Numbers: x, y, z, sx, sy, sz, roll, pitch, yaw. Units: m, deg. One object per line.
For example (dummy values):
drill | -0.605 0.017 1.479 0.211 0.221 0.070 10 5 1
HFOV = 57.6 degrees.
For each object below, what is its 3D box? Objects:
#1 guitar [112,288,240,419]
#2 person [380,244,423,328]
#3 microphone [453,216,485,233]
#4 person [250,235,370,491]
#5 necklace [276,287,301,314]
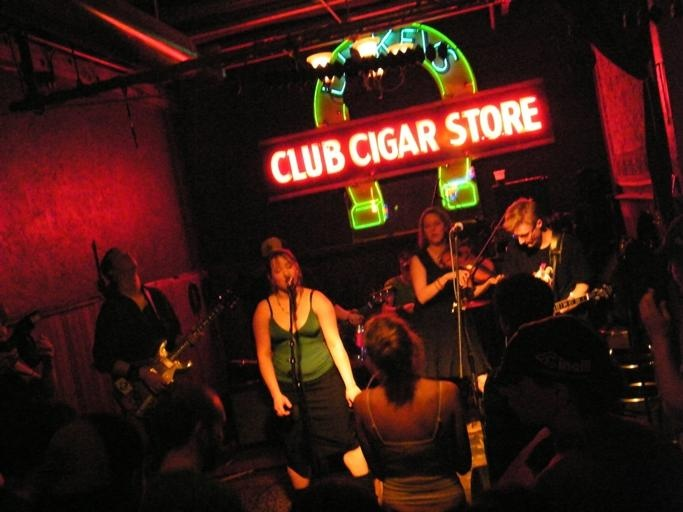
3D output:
guitar | -1.572 0.897 5.779 1.620 0.490 0.170 -47 -3 -40
person | 0.605 0.289 6.066 0.265 0.325 0.966 -24 15 12
microphone | 1.485 -0.403 7.151 0.386 0.245 0.093 2 9 35
person | -0.215 0.968 4.737 0.682 2.145 0.581 -8 18 3
necklace | -0.383 0.336 4.594 0.148 0.310 0.104 2 -22 -22
